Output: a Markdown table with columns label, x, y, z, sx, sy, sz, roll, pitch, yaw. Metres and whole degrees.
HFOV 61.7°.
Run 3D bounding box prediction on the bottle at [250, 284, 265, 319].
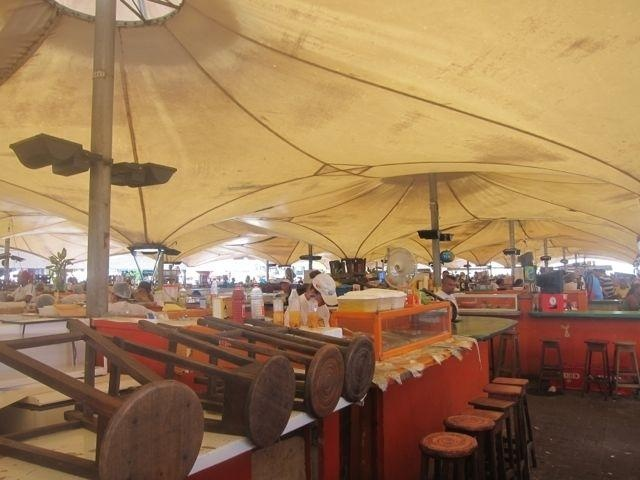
| label | x | y | z | sx | sy | sz | roll | pitch | yaw |
| --- | --- | --- | --- | --- | --- | --- | --- | --- | --- |
| bottle | -0.604 | 0.604 | 5.114 | 0.135 | 0.312 | 0.454 | 1 | -6 | -6 |

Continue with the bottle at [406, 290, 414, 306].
| label | x | y | z | sx | sy | sz | roll | pitch | yaw |
| --- | --- | --- | --- | --- | --- | --- | --- | --- | --- |
| bottle | 1.079 | 0.709 | 6.480 | 0.090 | 0.188 | 0.233 | 0 | -6 | 9 |

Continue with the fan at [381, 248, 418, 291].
| label | x | y | z | sx | sy | sz | roll | pitch | yaw |
| --- | --- | --- | --- | --- | --- | --- | --- | --- | --- |
| fan | 1.028 | 0.365 | 6.828 | 0.418 | 0.488 | 0.098 | -4 | -7 | 37 |

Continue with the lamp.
| label | x | y | z | sx | sy | sz | roll | pitch | yaw |
| --- | --- | --- | --- | --- | --- | --- | --- | --- | --- |
| lamp | -2.557 | -0.853 | 6.047 | 1.510 | 0.361 | 0.516 | 6 | -8 | -41 |

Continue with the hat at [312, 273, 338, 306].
| label | x | y | z | sx | sy | sz | roll | pitch | yaw |
| --- | --- | --- | --- | --- | --- | --- | --- | --- | --- |
| hat | 0.051 | 0.544 | 5.869 | 0.278 | 0.356 | 0.330 | 1 | -6 | -1 |
